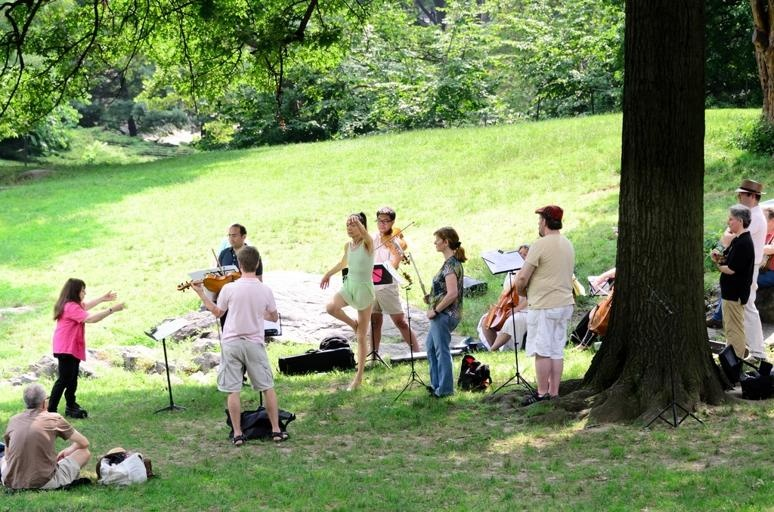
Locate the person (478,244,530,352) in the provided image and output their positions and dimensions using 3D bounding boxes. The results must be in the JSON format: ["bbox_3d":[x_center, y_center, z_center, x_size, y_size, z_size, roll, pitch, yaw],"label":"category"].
[{"bbox_3d":[2.497,0.908,19.502,0.760,2.177,1.017,6,-2,-43],"label":"person"}]

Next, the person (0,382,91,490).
[{"bbox_3d":[-5.784,2.970,15.065,1.394,1.711,0.358,-4,5,-8],"label":"person"}]

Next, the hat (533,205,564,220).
[{"bbox_3d":[2.927,-0.809,16.472,0.444,0.204,0.318,14,14,29],"label":"hat"}]

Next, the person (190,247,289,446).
[{"bbox_3d":[-2.522,1.576,16.247,1.206,3.517,0.744,-5,5,-11],"label":"person"}]

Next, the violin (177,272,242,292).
[{"bbox_3d":[-3.479,0.503,17.885,0.822,0.328,0.152,-4,37,-14],"label":"violin"}]

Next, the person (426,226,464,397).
[{"bbox_3d":[1.098,1.072,17.150,0.823,3.216,0.721,-4,5,0],"label":"person"}]

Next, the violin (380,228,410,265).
[{"bbox_3d":[0.150,-0.198,19.426,0.454,0.844,0.246,-21,-1,-18],"label":"violin"}]

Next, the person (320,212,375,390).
[{"bbox_3d":[-0.710,0.888,18.347,1.002,3.485,1.443,-5,5,-10],"label":"person"}]

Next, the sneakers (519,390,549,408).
[{"bbox_3d":[2.711,2.614,16.718,0.595,0.240,0.215,-7,-13,21],"label":"sneakers"}]

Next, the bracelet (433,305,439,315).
[{"bbox_3d":[0.886,1.030,16.855,0.104,0.100,0.105,10,-8,-38],"label":"bracelet"}]

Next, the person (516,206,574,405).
[{"bbox_3d":[2.899,0.892,16.531,1.048,3.583,0.395,-3,5,7],"label":"person"}]

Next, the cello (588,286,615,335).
[{"bbox_3d":[4.337,1.186,18.426,0.467,0.909,0.806,-3,5,12],"label":"cello"}]
